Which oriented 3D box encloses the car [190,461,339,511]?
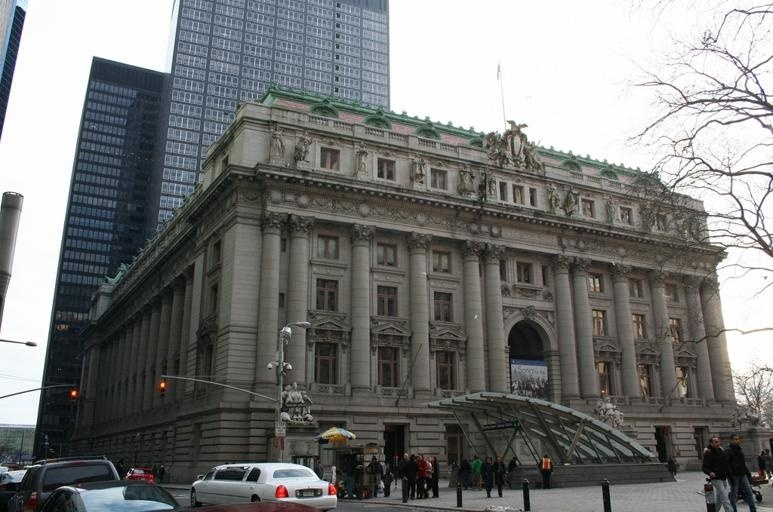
[{"bbox_3d":[-7.061,12.579,38.820,7.760,2.475,2.887,-13,-24,30],"label":"car"}]

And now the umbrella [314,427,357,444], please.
[{"bbox_3d":[-4.327,14.248,55.978,2.691,1.029,2.681,-25,-40,30],"label":"umbrella"}]
